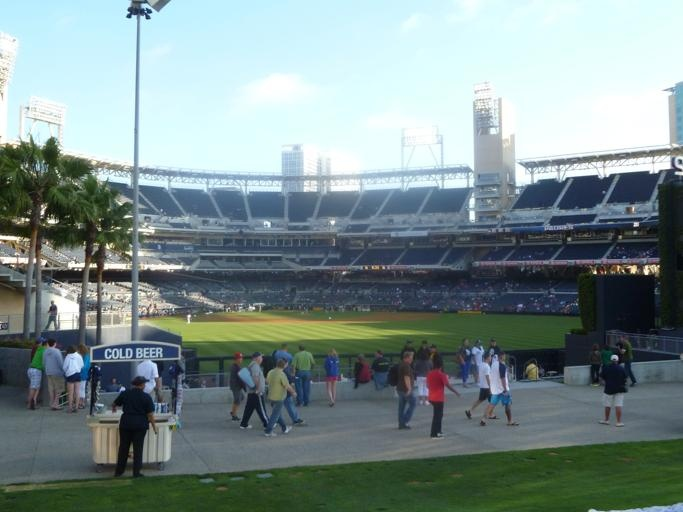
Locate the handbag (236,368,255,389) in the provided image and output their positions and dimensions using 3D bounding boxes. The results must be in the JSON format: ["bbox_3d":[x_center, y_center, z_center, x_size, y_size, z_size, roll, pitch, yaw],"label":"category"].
[{"bbox_3d":[-3.006,3.800,29.204,0.393,0.585,0.849,-3,12,-15],"label":"handbag"}]

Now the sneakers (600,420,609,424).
[{"bbox_3d":[8.149,5.257,29.658,0.265,0.116,0.099,2,0,45],"label":"sneakers"}]

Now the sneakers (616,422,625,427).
[{"bbox_3d":[8.621,5.289,29.455,0.287,0.118,0.100,-3,5,-35],"label":"sneakers"}]

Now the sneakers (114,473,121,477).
[{"bbox_3d":[-6.192,6.033,25.889,0.105,0.053,0.145,2,2,-12],"label":"sneakers"}]

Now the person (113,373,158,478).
[{"bbox_3d":[-5.734,4.724,25.893,1.167,2.691,0.817,-3,12,-14],"label":"person"}]
